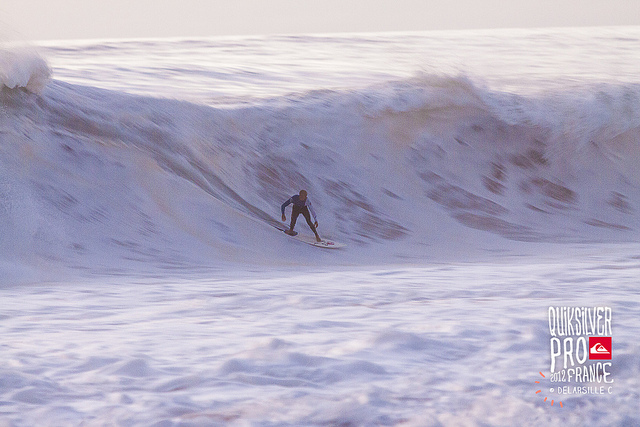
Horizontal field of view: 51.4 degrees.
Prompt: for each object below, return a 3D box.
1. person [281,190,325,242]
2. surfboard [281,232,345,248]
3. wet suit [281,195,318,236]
[{"bbox_3d":[-0.343,-0.029,14.793,0.917,1.179,1.713,7,12,0],"label":"person"},{"bbox_3d":[-0.155,0.599,14.630,1.665,0.116,0.396,10,15,26],"label":"surfboard"},{"bbox_3d":[-0.403,0.019,14.485,0.841,0.894,1.060,8,13,5],"label":"wet suit"}]
